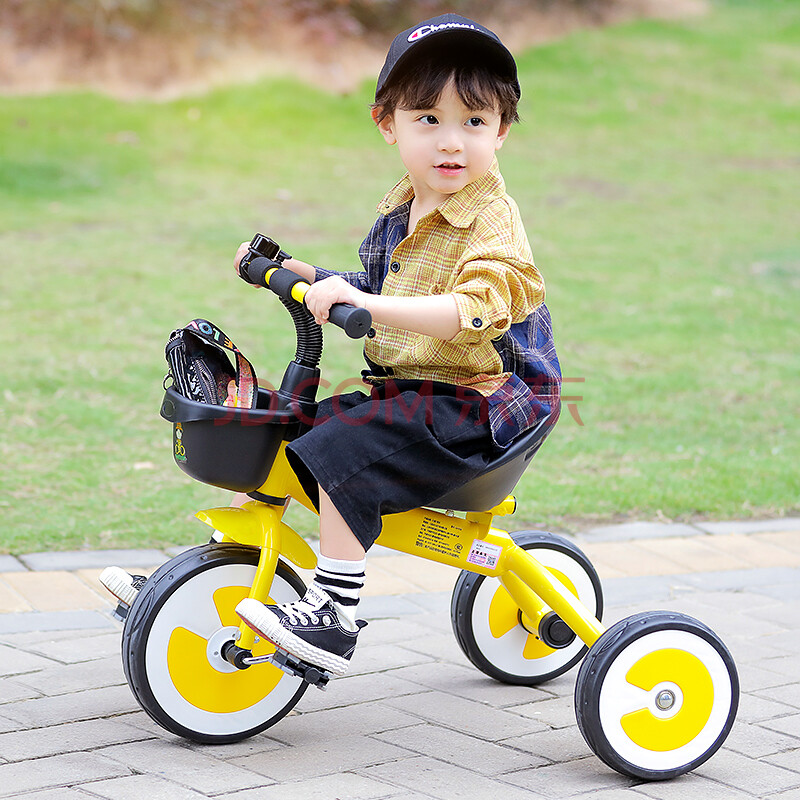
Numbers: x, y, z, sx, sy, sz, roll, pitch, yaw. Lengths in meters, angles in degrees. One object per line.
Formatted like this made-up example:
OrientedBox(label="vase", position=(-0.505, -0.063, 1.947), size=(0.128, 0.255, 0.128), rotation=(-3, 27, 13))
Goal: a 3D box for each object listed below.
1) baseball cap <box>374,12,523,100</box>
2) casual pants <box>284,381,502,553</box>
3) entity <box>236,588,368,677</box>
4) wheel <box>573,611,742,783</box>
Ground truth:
OrientedBox(label="baseball cap", position=(0.078, -0.719, 2.163), size=(0.324, 0.128, 0.347), rotation=(-6, 18, -11))
OrientedBox(label="casual pants", position=(-0.136, 0.129, 2.088), size=(0.665, 0.279, 0.531), rotation=(1, 1, 8))
OrientedBox(label="entity", position=(-0.197, 0.432, 1.906), size=(0.228, 0.167, 0.081), rotation=(3, 15, -5))
OrientedBox(label="wheel", position=(0.517, 0.597, 2.044), size=(0.333, 0.323, 0.148), rotation=(-2, 17, -25))
